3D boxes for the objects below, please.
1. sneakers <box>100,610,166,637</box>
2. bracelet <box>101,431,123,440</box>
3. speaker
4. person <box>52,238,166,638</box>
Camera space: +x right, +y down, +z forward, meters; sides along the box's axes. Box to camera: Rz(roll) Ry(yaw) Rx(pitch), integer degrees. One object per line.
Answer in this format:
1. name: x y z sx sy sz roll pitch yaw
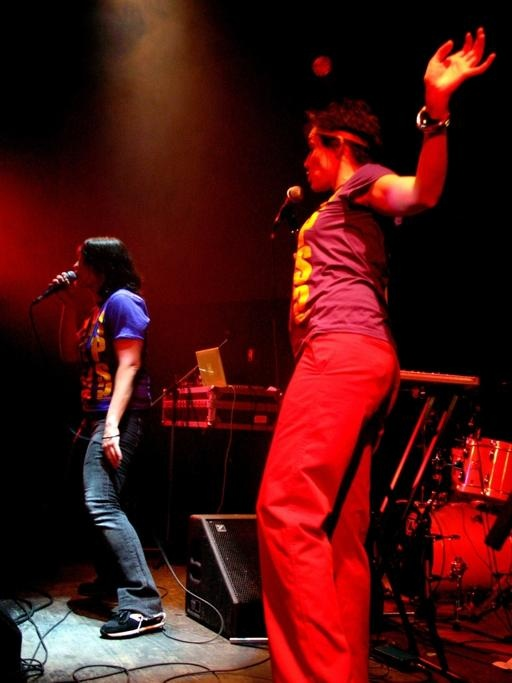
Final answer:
1. sneakers: -0.457 1.045 2.361 0.252 0.104 0.091 10 -22 -27
2. bracelet: -0.558 0.375 2.489 0.037 0.032 0.075 -3 -12 37
3. speaker: -0.148 0.929 2.564 0.460 0.419 0.390 8 -20 -25
4. person: -0.613 0.329 2.743 0.431 1.630 0.722 10 -11 -33
